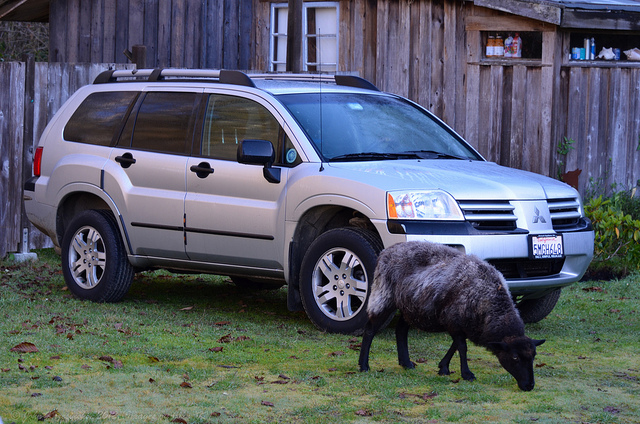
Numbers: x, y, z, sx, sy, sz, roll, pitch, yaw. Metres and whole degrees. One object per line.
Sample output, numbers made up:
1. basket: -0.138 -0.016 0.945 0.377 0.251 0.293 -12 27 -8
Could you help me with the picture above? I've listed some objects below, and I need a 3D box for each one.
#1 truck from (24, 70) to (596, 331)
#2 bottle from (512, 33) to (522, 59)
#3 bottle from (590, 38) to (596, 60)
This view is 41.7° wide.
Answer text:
1. truck: -0.326 -0.291 10.663 6.132 2.858 3.409 0 0 35
2. bottle: 3.564 -3.016 15.247 0.160 0.462 0.323 4 10 17
3. bottle: 4.966 -2.985 15.341 0.087 0.389 0.512 4 10 17
